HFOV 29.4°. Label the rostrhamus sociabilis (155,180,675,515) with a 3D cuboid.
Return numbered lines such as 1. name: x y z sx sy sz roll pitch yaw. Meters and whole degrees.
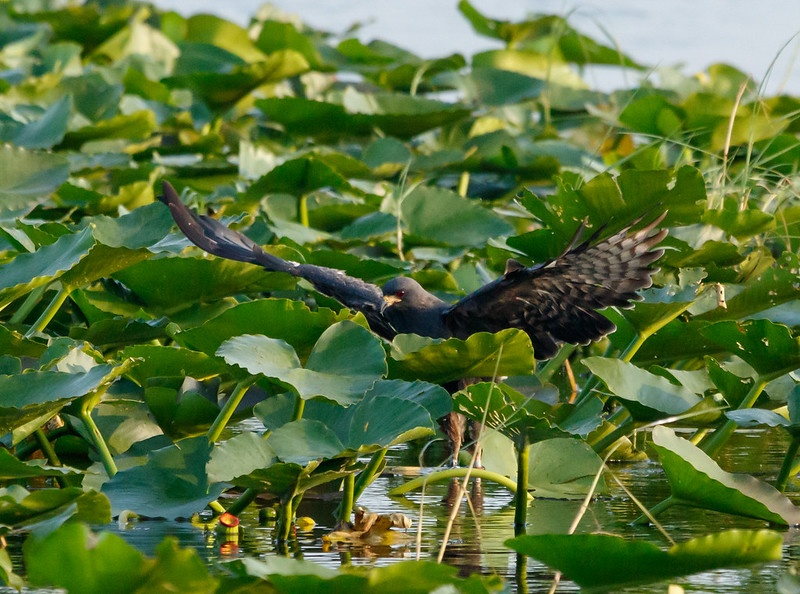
1. rostrhamus sociabilis: 0.041 0.081 6.239 1.978 0.753 0.706 8 14 13
